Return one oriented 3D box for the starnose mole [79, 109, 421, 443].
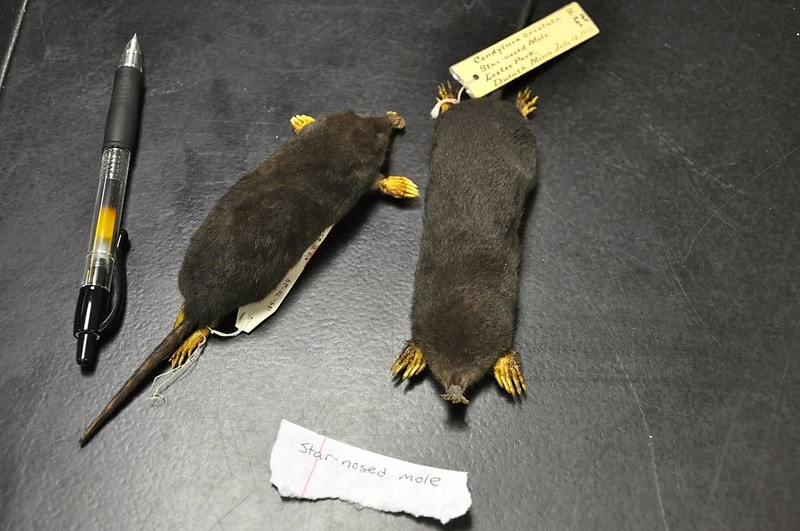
[{"bbox_3d":[-0.612,-0.051,3.125,0.647,0.465,1.893,34,67,21],"label":"starnose mole"}]
